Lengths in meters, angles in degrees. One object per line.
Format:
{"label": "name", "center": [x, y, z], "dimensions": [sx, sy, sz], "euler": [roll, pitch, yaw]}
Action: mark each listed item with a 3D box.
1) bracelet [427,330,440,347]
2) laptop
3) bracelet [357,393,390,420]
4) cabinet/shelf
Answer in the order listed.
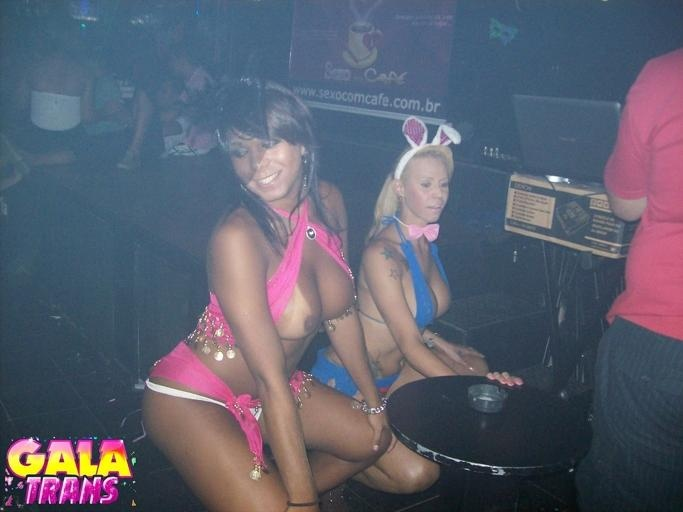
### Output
{"label": "bracelet", "center": [0.557, 0.514, 3.879], "dimensions": [0.035, 0.124, 0.048], "euler": [3, 2, 35]}
{"label": "laptop", "center": [1.434, -0.851, 3.989], "dimensions": [0.708, 0.553, 0.533], "euler": [15, 32, 40]}
{"label": "bracelet", "center": [0.162, 0.791, 3.276], "dimensions": [0.108, 0.050, 0.132], "euler": [-4, 11, 7]}
{"label": "cabinet/shelf", "center": [1.701, 0.272, 4.934], "dimensions": [0.724, 1.309, 0.714], "euler": [0, 9, -21]}
